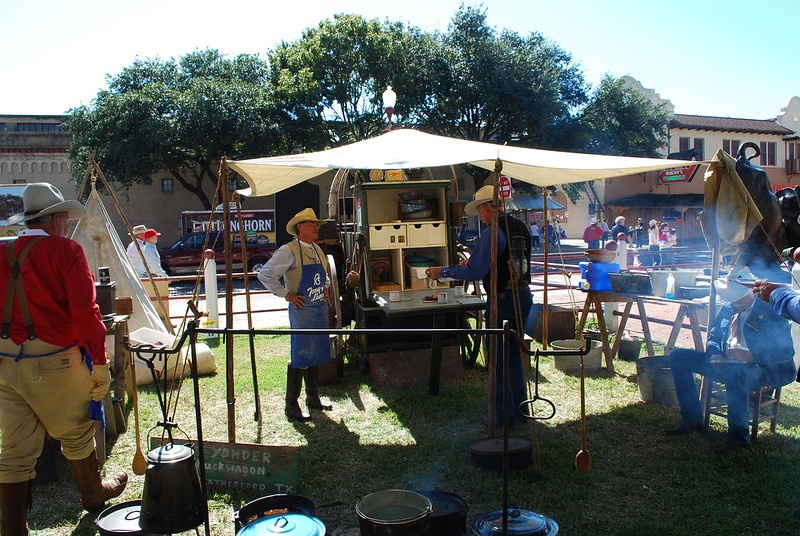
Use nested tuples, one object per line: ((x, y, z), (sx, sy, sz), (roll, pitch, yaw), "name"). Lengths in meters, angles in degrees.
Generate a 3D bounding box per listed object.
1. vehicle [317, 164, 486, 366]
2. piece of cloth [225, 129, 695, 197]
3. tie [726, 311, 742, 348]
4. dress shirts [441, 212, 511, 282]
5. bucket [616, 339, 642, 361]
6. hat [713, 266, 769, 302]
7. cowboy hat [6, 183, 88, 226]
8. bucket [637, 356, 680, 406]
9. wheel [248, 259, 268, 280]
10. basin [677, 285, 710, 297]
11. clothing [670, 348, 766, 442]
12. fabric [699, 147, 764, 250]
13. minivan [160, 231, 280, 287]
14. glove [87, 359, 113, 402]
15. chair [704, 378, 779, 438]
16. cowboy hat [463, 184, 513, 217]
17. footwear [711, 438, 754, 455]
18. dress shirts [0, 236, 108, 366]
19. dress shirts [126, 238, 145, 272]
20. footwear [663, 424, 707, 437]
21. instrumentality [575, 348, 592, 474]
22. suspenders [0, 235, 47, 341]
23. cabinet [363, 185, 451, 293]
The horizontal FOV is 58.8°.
((0.440, -0.190, 10.041), (1.760, 2.625, 2.847), (-1, -1, -19), "vehicle")
((0.541, -1.185, 7.700), (2.286, 0.429, 2.329), (-6, 10, -20), "piece of cloth")
((3.516, 0.672, 7.484), (0.179, 0.313, 0.304), (5, -23, 23), "tie")
((0.928, -0.243, 8.199), (0.821, 0.676, 1.007), (8, 12, 36), "dress shirts")
((3.216, 1.139, 9.922), (0.275, 0.238, 0.301), (1, -3, 0), "bucket")
((3.483, 0.166, 7.374), (0.357, 0.364, 0.333), (1, 6, 27), "hat")
((-3.187, -0.688, 6.596), (0.425, 0.238, 0.531), (-8, 11, 13), "cowboy hat")
((3.194, 1.380, 8.617), (0.634, 0.493, 0.559), (0, 0, -27), "bucket")
((-3.104, -0.014, 15.555), (0.561, 0.617, 0.209), (2, 1, -5), "wheel")
((3.875, 0.317, 9.393), (0.254, 0.092, 0.210), (-1, 2, -9), "basin")
((3.420, 1.295, 7.660), (0.986, 1.113, 1.094), (6, 3, 27), "clothing")
((3.563, -0.738, 7.643), (0.563, 1.072, 0.234), (1, 6, 27), "fabric")
((-5.504, -0.450, 20.981), (4.411, 2.008, 2.078), (0, 1, -20), "minivan")
((-2.780, 1.047, 6.587), (0.144, 0.297, 0.224), (-1, -9, 44), "glove")
((3.741, 1.472, 7.754), (0.476, 0.621, 0.616), (-3, 8, -28), "chair")
((0.916, -0.774, 8.159), (0.371, 0.180, 0.418), (-12, -11, -46), "cowboy hat")
((3.399, 1.835, 7.300), (0.388, 0.182, 0.149), (2, -5, -2), "footwear")
((-3.113, 0.322, 6.333), (1.160, 1.305, 0.613), (-1, 2, -3), "dress shirts")
((-4.137, -0.195, 11.189), (0.322, 0.562, 0.566), (4, -2, -29), "dress shirts")
((3.071, 1.725, 7.702), (0.447, 0.208, 0.160), (1, -5, 8), "footwear")
((1.624, 1.262, 6.335), (0.193, 1.197, 0.046), (-4, 4, -25), "instrumentality")
((-3.352, 0.189, 6.276), (0.317, 0.885, 0.165), (-2, 5, 0), "suspenders")
((0.127, -0.351, 9.608), (1.321, 1.806, 0.886), (-1, -1, -15), "cabinet")
